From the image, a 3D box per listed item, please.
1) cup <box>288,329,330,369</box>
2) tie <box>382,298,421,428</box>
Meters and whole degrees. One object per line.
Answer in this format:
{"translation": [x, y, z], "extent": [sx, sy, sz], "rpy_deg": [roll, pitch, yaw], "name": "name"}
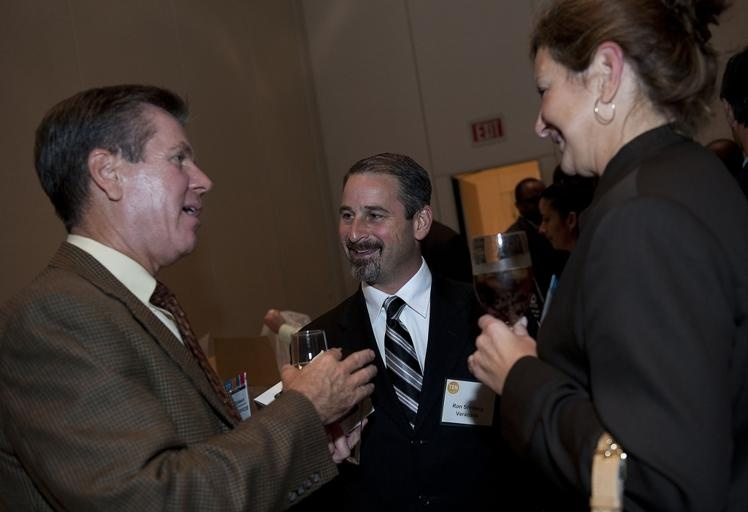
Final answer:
{"translation": [-0.212, 0.292, 1.849], "extent": [0.102, 0.109, 0.108], "rpy_deg": [-3, -9, 0], "name": "cup"}
{"translation": [0.106, 0.401, 2.308], "extent": [0.137, 0.346, 0.265], "rpy_deg": [-8, 4, 0], "name": "tie"}
